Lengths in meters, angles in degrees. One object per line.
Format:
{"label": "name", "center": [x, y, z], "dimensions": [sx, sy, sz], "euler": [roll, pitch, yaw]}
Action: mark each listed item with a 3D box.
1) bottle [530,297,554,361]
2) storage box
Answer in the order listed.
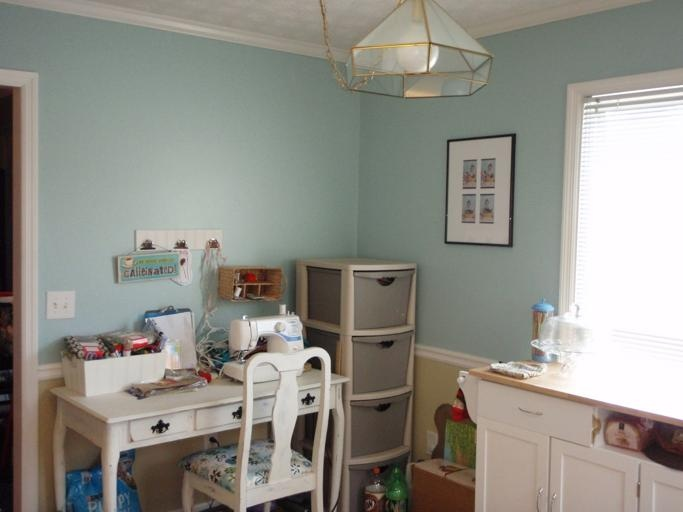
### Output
{"label": "bottle", "center": [1.048, 0.374, 2.737], "dimensions": [0.108, 0.295, 0.352], "euler": [1, 7, 23]}
{"label": "storage box", "center": [-1.164, 0.599, 2.750], "dimensions": [0.369, 0.157, 0.234], "euler": [-2, 3, -36]}
